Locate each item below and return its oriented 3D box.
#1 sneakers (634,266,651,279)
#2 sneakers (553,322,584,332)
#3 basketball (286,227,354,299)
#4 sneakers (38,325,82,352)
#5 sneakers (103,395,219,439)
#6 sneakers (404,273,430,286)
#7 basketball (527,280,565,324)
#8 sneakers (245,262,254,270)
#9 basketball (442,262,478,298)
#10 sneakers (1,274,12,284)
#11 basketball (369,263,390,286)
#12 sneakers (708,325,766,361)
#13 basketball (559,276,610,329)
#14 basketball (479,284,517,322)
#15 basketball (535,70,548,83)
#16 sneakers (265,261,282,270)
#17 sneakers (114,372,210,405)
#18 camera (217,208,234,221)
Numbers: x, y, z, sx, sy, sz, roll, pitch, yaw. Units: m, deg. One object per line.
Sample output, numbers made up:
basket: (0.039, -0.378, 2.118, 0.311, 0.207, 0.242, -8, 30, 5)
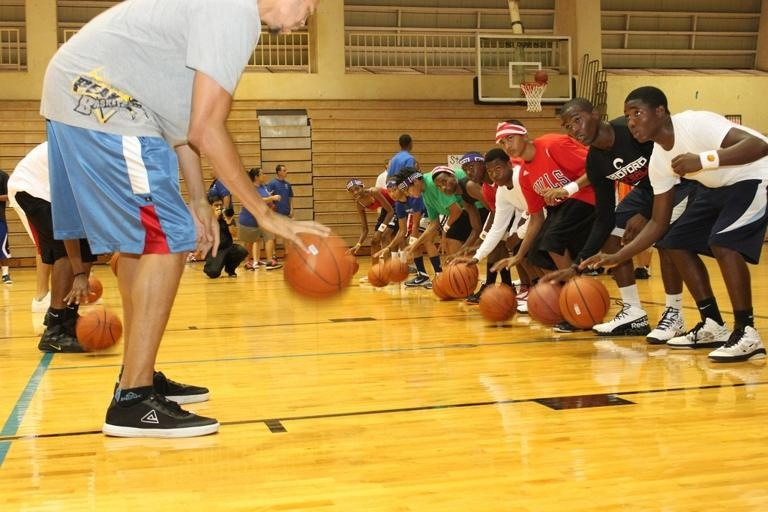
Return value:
sneakers: (3.483, 0.216, 8.762, 0.130, 0.098, 0.245, 1, 10, 10)
sneakers: (1.503, 0.575, 5.275, 0.231, 0.087, 0.080, 4, -2, -7)
basketball: (-0.299, 0.029, 3.063, 0.309, 0.289, 0.317, 4, 3, -42)
sneakers: (-2.386, 0.611, 4.794, 0.418, 0.169, 0.158, 1, 0, 3)
sneakers: (-1.074, 0.775, 3.229, 0.641, 0.224, 0.203, 1, -4, -8)
sneakers: (0.402, 0.321, 8.672, 0.431, 0.169, 0.138, 0, 1, 15)
basketball: (1.294, 0.378, 5.199, 0.327, 0.358, 0.325, -8, -15, 31)
sneakers: (-2.484, 0.176, 12.043, 0.114, 0.106, 0.272, -2, -2, -21)
basketball: (0.743, 0.234, 6.376, 0.355, 0.382, 0.339, -3, 0, -30)
sneakers: (-5.957, 0.360, 10.231, 0.136, 0.155, 0.357, 1, -2, -32)
basketball: (-0.049, 0.224, 8.102, 0.195, 0.223, 0.194, 24, 50, 32)
sneakers: (2.280, 0.559, 4.188, 0.375, 0.226, 0.109, -1, 9, -22)
basketball: (1.622, 0.351, 4.996, 0.418, 0.444, 0.394, -4, 2, -20)
basketball: (0.988, 0.405, 5.620, 0.330, 0.355, 0.329, -4, -8, 12)
basketball: (3.603, -4.111, 14.878, 0.283, 0.296, 0.290, 3, 8, 6)
sneakers: (-2.020, 0.160, 11.901, 0.134, 0.143, 0.360, 5, 9, 33)
sneakers: (-1.222, 0.720, 3.612, 0.608, 0.218, 0.195, 4, 8, -22)
camera: (-2.518, -0.689, 10.392, 0.239, 0.097, 0.245, 16, -8, -21)
